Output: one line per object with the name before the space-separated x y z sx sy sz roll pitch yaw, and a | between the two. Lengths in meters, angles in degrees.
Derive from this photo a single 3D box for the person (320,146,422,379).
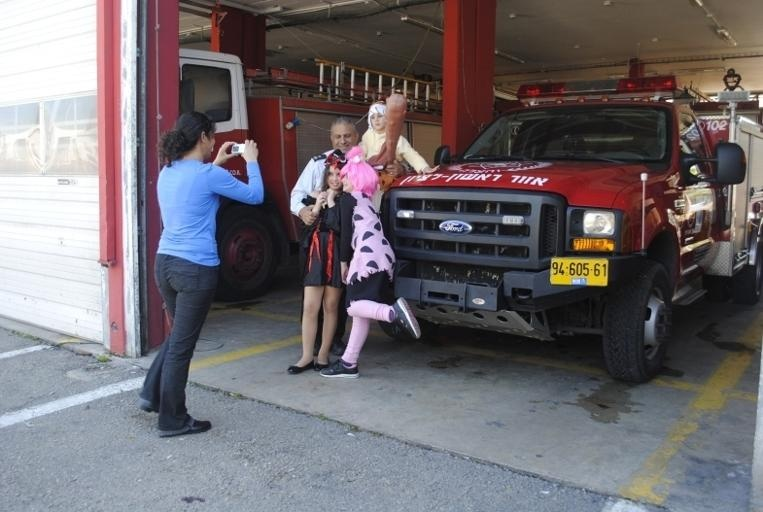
person | -0.112 0.102 5.229 0.920 2.195 0.627 3 12 13

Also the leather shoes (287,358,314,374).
leather shoes | -0.800 1.118 5.547 0.299 0.119 0.099 4 -7 -42

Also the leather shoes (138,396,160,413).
leather shoes | -1.925 1.242 4.624 0.143 0.103 0.110 15 -7 -30

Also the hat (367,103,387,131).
hat | -0.049 -1.486 5.871 0.215 0.285 0.293 0 3 6

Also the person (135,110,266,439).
person | -1.401 0.132 4.441 0.883 2.500 0.538 -5 13 -23

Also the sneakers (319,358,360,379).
sneakers | -0.407 1.112 5.457 0.386 0.162 0.156 2 -6 5

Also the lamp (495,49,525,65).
lamp | 4.498 -7.085 19.806 0.642 0.168 2.307 7 14 30

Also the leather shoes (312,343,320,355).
leather shoes | -0.692 0.993 5.854 0.110 0.139 0.138 3 -6 0

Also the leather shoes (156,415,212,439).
leather shoes | -1.559 1.341 4.429 0.424 0.163 0.152 0 -2 -20
